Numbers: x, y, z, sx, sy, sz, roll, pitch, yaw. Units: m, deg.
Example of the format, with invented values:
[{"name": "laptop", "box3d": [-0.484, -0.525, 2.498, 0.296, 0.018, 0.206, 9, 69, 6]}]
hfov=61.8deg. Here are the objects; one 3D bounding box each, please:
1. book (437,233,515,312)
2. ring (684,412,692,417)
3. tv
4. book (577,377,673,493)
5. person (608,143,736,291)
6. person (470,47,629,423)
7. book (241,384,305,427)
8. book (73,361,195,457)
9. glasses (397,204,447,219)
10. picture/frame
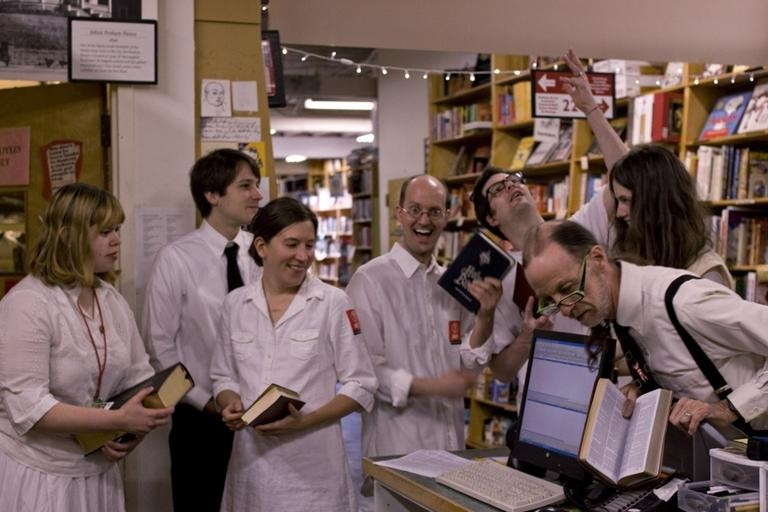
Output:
[{"name": "book", "box3d": [0.430, 0.049, 3.032, 0.335, 0.345, 0.080, 34, 21, -7]}, {"name": "ring", "box3d": [1.154, 0.594, 2.428, 0.025, 0.018, 0.011, -3, 7, -6]}, {"name": "tv", "box3d": [0.677, 0.599, 2.702, 0.375, 0.549, 0.349, 11, 5, -42]}, {"name": "book", "box3d": [0.895, 0.674, 2.371, 0.357, 0.387, 0.149, 3, -30, 43]}, {"name": "person", "box3d": [1.561, -0.159, 3.414, 0.515, 0.549, 1.007, -5, 41, 8]}, {"name": "person", "box3d": [1.002, 0.062, 3.585, 0.929, 2.159, 0.636, -13, -23, 25]}, {"name": "book", "box3d": [-0.499, 0.661, 2.814, 0.222, 0.054, 0.220, -39, -30, 16]}, {"name": "book", "box3d": [-1.095, 0.662, 2.848, 0.425, 0.104, 0.414, -35, -4, -34]}, {"name": "glasses", "box3d": [0.209, -0.232, 3.402, 0.249, 0.080, 0.106, -2, 7, -1]}, {"name": "picture/frame", "box3d": [-1.579, -1.183, 3.758, 0.489, 0.385, 0.039, -1, -9, -14]}]
